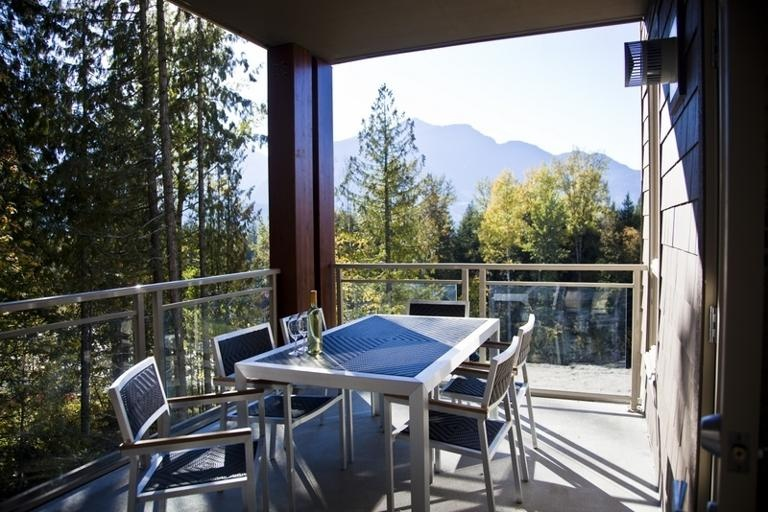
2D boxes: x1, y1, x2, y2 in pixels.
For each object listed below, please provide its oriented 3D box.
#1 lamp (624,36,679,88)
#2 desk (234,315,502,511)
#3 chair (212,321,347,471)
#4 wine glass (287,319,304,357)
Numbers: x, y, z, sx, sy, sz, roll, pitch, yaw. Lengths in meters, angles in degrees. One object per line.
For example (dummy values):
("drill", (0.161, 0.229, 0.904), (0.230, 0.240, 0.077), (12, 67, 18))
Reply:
("lamp", (1.766, -1.309, 4.010), (0.214, 0.387, 0.386), (-8, 13, -37))
("desk", (-0.023, 0.575, 3.979), (0.916, 0.844, 1.666), (0, 4, 21))
("chair", (-0.969, 1.144, 4.362), (0.633, 0.905, 0.717), (-17, -34, -8))
("wine glass", (-0.623, 0.602, 4.202), (0.131, 0.323, 0.142), (0, -14, 1))
